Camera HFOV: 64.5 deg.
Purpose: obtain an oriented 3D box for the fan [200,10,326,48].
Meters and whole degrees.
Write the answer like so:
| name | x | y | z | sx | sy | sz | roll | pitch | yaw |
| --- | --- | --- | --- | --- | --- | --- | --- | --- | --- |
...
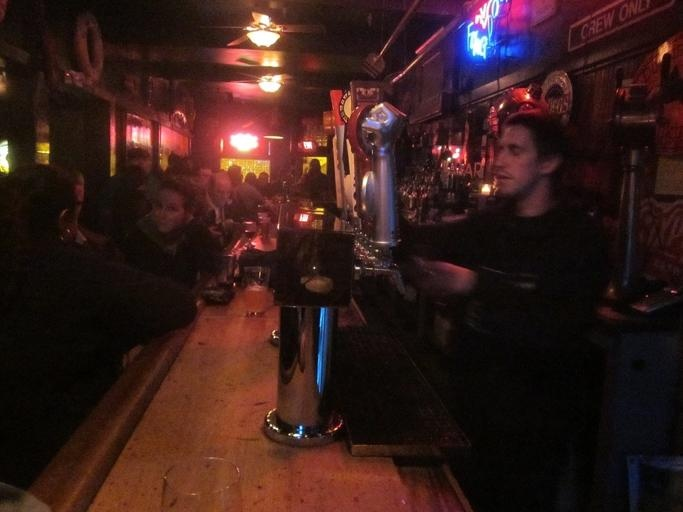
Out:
| name | x | y | z | sx | sy | sz | roll | pitch | yaw |
| --- | --- | --- | --- | --- | --- | --- | --- | --- | --- |
| fan | -0.965 | -2.899 | 6.841 | 1.272 | 0.490 | 1.299 | 8 | 18 | 44 |

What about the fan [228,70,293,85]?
| name | x | y | z | sx | sy | sz | roll | pitch | yaw |
| --- | --- | --- | --- | --- | --- | --- | --- | --- | --- |
| fan | -1.509 | -3.371 | 10.191 | 0.690 | 0.115 | 0.701 | 0 | 10 | -5 |

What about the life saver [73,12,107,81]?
| name | x | y | z | sx | sy | sz | roll | pitch | yaw |
| --- | --- | --- | --- | --- | --- | --- | --- | --- | --- |
| life saver | -3.049 | -2.540 | 6.530 | 0.206 | 0.775 | 0.950 | -1 | 8 | -15 |
